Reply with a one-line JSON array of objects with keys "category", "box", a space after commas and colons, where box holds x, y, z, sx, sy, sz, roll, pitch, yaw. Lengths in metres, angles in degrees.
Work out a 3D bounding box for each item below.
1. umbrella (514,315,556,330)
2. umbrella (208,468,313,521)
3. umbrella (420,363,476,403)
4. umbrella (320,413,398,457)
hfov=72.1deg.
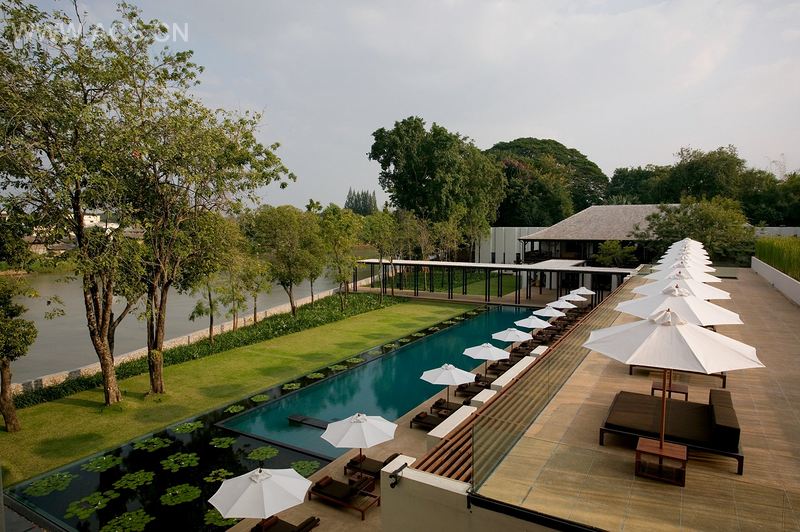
[{"category": "umbrella", "box": [7.246, 3.113, 30.042, 1.478, 0.738, 1.455, -2, 3, -19]}, {"category": "umbrella", "box": [-4.348, 7.157, 17.294, 2.755, 1.267, 1.220, -5, 2, -5]}, {"category": "umbrella", "box": [2.247, 4.759, 23.733, 1.941, 1.426, 1.914, -12, 16, -38]}, {"category": "umbrella", "box": [-1.476, 6.162, 20.405, 2.636, 1.340, 2.688, -1, 4, 7]}]
